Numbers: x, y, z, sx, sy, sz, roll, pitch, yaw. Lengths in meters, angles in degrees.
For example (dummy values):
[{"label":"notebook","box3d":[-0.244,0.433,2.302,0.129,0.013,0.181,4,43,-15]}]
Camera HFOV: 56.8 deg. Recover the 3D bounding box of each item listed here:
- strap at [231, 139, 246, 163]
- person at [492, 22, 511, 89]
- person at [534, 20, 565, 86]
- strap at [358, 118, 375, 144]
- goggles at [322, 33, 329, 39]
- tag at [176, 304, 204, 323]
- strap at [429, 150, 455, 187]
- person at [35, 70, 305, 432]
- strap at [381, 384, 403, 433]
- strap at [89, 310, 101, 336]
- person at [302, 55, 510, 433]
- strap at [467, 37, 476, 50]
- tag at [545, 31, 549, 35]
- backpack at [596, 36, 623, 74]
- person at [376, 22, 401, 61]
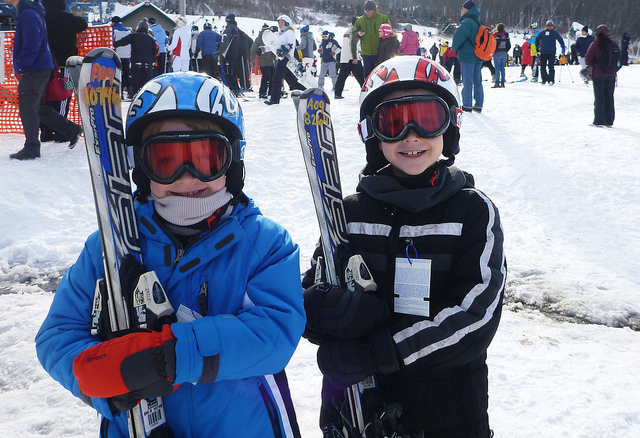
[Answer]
[{"label":"strap","box3d":[-0.503,-0.424,3.671,0.092,0.134,0.068,0,0,-10]},{"label":"person","box3d":[4.334,-3.846,13.892,0.491,1.452,0.471,9,10,43]},{"label":"person","box3d":[5.712,-4.158,14.651,0.666,1.524,0.457,6,9,33]},{"label":"strap","box3d":[0.314,-0.596,3.986,0.108,0.147,0.072,-6,14,-12]},{"label":"goggles","box3d":[0.154,-4.603,14.809,0.157,0.174,0.454,0,12,-2]},{"label":"tag","box3d":[-0.771,0.570,3.524,0.083,0.083,0.010,25,-12,4]},{"label":"strap","box3d":[0.817,-0.326,3.963,0.151,0.221,0.079,15,-7,35]},{"label":"person","box3d":[-0.845,0.127,3.550,1.503,1.975,0.694,0,11,-3]},{"label":"strap","box3d":[0.462,1.189,3.735,0.093,0.327,0.127,0,-1,23]},{"label":"strap","box3d":[-1.346,0.631,3.541,0.081,0.139,0.035,4,-6,-7]},{"label":"person","box3d":[0.569,0.231,3.795,1.219,2.526,0.865,3,11,12]},{"label":"strap","box3d":[2.513,-2.915,9.769,0.044,0.298,0.039,-5,-17,-26]},{"label":"tag","box3d":[5.457,-4.481,14.174,0.072,0.069,0.017,3,10,25]},{"label":"backpack","box3d":[4.658,-2.625,9.493,0.402,0.586,0.326,-10,17,-17]},{"label":"person","box3d":[1.284,-3.378,11.155,0.370,0.742,0.721,0,12,-2]}]
